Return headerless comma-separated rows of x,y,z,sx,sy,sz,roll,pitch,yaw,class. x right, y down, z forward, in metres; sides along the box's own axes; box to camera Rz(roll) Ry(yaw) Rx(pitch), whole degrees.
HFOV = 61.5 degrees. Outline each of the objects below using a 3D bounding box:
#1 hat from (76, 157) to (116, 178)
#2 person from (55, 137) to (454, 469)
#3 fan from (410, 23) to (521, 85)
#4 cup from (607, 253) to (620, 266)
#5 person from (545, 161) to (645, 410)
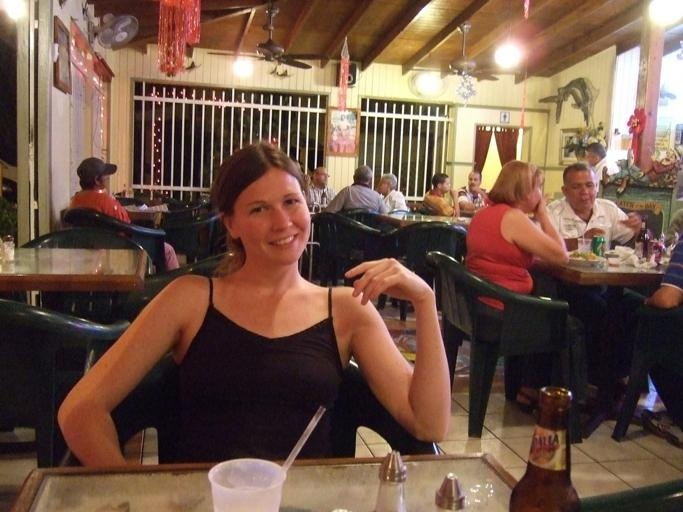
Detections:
-2.109,-0.767,5.015,0.218,0.151,0.342,29,29,37,hat
-0.216,0.130,1.623,1.035,0.895,0.363,1,7,-3,person
1.938,-3.178,8.874,1.196,0.707,1.263,-1,24,21,fan
1.570,0.017,3.367,0.076,0.087,0.081,0,3,0,cup
1.784,0.172,3.949,0.658,1.667,0.889,-4,0,3,person
